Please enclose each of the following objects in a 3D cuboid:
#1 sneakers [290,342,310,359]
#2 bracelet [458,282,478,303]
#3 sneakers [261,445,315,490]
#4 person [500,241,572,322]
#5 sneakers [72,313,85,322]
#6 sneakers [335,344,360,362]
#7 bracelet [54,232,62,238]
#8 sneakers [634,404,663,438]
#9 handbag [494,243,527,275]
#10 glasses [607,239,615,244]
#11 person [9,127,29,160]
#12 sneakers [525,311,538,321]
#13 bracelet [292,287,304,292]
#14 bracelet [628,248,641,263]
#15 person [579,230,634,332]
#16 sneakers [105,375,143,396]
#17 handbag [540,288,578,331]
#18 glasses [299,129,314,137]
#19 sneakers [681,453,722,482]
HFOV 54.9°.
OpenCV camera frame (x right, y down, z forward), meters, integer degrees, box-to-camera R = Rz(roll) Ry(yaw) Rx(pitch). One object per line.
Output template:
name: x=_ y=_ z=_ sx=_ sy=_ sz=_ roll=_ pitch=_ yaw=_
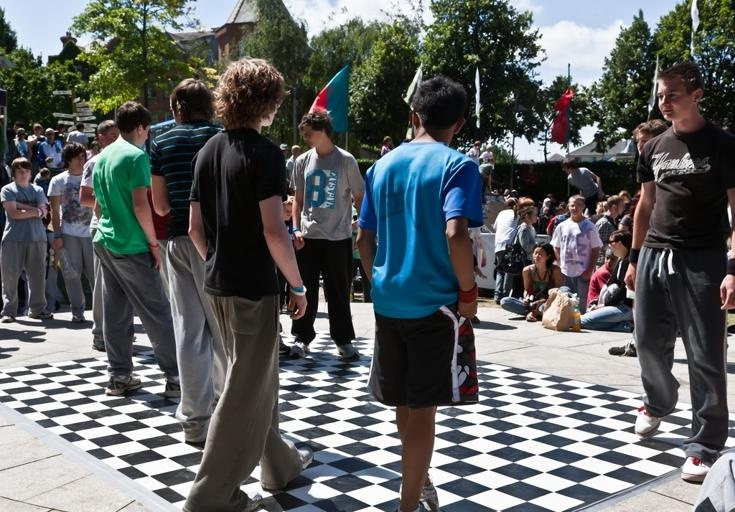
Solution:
sneakers: x=-0.720 y=1.006 z=7.561 sx=0.094 sy=0.118 sz=0.261 roll=1 pitch=6 yaw=2
bracelet: x=0.596 y=0.227 z=4.225 sx=0.108 sy=0.079 sz=0.097 roll=-2 pitch=2 yaw=34
sneakers: x=-0.535 y=1.417 z=4.798 sx=0.151 sy=0.171 sz=0.447 roll=10 pitch=21 yaw=19
person: x=2.327 y=0.371 z=9.862 sx=0.828 sy=1.038 sz=0.804 roll=2 pitch=-2 yaw=-2
sneakers: x=-3.750 y=0.809 z=9.218 sx=0.080 sy=0.100 sz=0.149 roll=-4 pitch=-13 yaw=24
sneakers: x=-0.211 y=1.014 z=7.483 sx=0.118 sy=0.120 sz=0.278 roll=-1 pitch=0 yaw=-35
bracelet: x=-3.981 y=-0.262 z=9.095 sx=0.076 sy=0.052 sz=0.075 roll=1 pitch=-3 yaw=-12
sneakers: x=2.132 y=1.284 z=5.395 sx=0.122 sy=0.143 sz=0.336 roll=14 pitch=3 yaw=34
handbag: x=2.200 y=0.045 z=10.758 sx=0.347 sy=0.491 sz=0.160 roll=24 pitch=-7 yaw=46
glasses: x=3.127 y=-0.189 z=9.065 sx=0.045 sy=0.086 sz=0.090 roll=6 pitch=-13 yaw=-10
person: x=-8.126 y=-2.654 z=16.574 sx=0.356 sy=0.722 sz=1.333 roll=-3 pitch=10 yaw=-24
sneakers: x=2.243 y=0.824 z=9.648 sx=0.144 sy=0.117 sz=0.200 roll=3 pitch=9 yaw=14
bracelet: x=-0.440 y=0.217 z=4.532 sx=0.037 sy=0.027 sz=0.048 roll=-2 pitch=3 yaw=-41
bracelet: x=2.046 y=0.001 z=5.416 sx=0.089 sy=0.088 sz=0.081 roll=0 pitch=4 yaw=-17
person: x=3.138 y=0.310 z=9.194 sx=0.819 sy=1.259 sz=0.732 roll=-1 pitch=8 yaw=23
sneakers: x=-2.181 y=1.161 z=6.363 sx=0.133 sy=0.145 sz=0.323 roll=5 pitch=7 yaw=27
handbag: x=2.490 y=0.686 z=9.198 sx=0.287 sy=0.538 sz=0.563 roll=10 pitch=18 yaw=-6
glasses: x=-0.608 y=-1.272 z=7.160 sx=0.123 sy=0.094 sz=0.107 roll=3 pitch=-1 yaw=-37
sneakers: x=2.278 y=1.418 z=4.826 sx=0.169 sy=0.202 sz=0.518 roll=2 pitch=-3 yaw=34
